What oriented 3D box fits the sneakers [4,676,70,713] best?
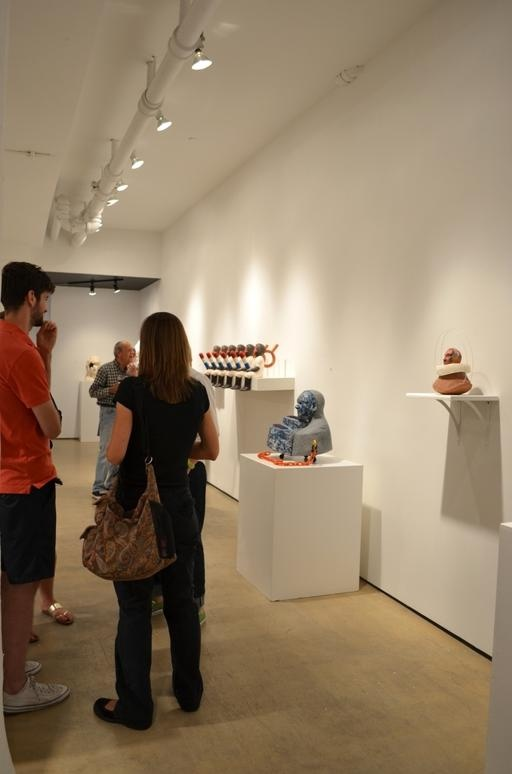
[{"bbox_3d":[-0.806,1.081,1.833,0.219,0.121,0.081,4,-1,-36],"label":"sneakers"}]

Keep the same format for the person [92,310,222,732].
[{"bbox_3d":[-0.337,0.450,1.713,0.369,1.397,0.511,0,-4,19],"label":"person"}]

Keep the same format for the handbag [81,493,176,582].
[{"bbox_3d":[-0.391,0.404,1.508,0.260,0.388,0.162,-1,-25,-4],"label":"handbag"}]
